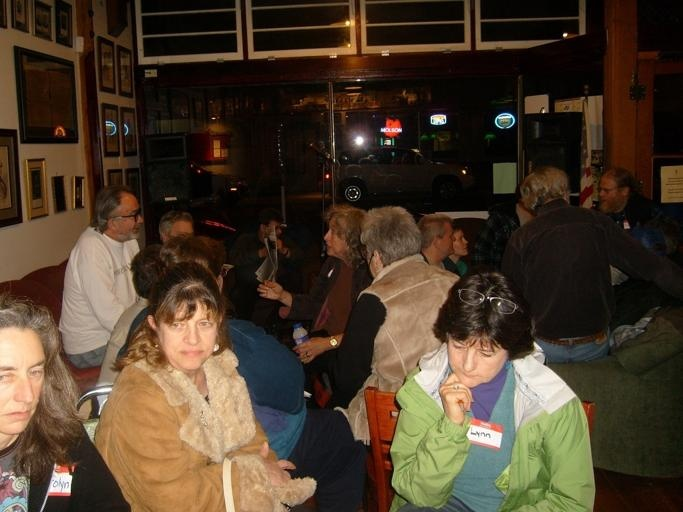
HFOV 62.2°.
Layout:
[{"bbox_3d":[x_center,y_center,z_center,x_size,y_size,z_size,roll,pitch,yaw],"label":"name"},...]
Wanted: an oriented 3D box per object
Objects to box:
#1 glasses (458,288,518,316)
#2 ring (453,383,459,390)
[{"bbox_3d":[0.554,0.171,2.126,0.220,0.090,0.054,-1,11,12],"label":"glasses"},{"bbox_3d":[0.439,0.499,2.165,0.028,0.017,0.019,-2,11,10],"label":"ring"}]
